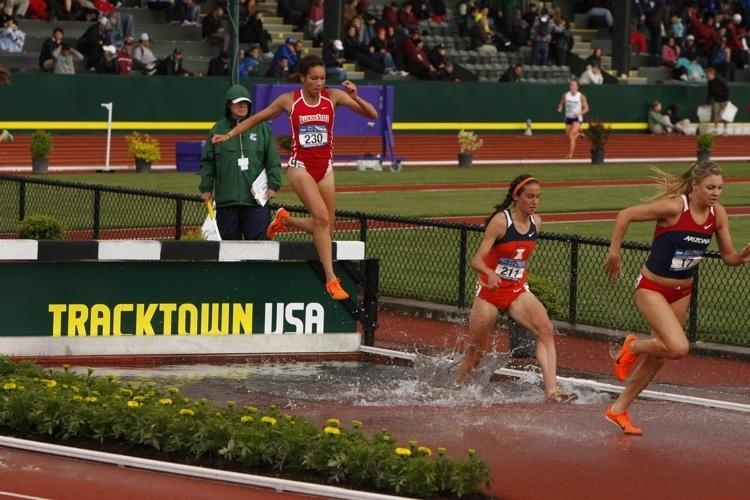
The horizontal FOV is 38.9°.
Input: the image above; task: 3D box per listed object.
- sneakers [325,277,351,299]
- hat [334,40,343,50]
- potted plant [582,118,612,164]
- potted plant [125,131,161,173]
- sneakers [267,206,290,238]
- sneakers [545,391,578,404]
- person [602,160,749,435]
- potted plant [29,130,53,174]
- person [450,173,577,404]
[{"bbox_3d":[-0.429,0.470,12.194,0.149,0.135,0.370,-24,16,-8],"label":"sneakers"},{"bbox_3d":[-1.369,-7.593,38.747,0.290,0.438,0.228,-15,-12,-34],"label":"hat"},{"bbox_3d":[7.915,-3.785,38.133,0.904,1.533,0.896,-1,-6,-33],"label":"potted plant"},{"bbox_3d":[-6.599,-2.744,30.046,1.023,1.079,0.974,-1,-1,-34],"label":"potted plant"},{"bbox_3d":[-1.273,-0.365,13.989,0.191,0.444,0.167,27,-8,12],"label":"sneakers"},{"bbox_3d":[1.946,1.556,11.135,0.364,0.161,0.134,-4,2,5],"label":"sneakers"},{"bbox_3d":[2.850,0.456,10.269,1.252,2.610,0.814,1,9,3],"label":"person"},{"bbox_3d":[-8.991,-2.631,28.739,0.652,1.187,0.640,2,-5,-1],"label":"potted plant"},{"bbox_3d":[1.449,0.381,11.229,0.891,2.340,1.162,-7,12,-40],"label":"person"}]
